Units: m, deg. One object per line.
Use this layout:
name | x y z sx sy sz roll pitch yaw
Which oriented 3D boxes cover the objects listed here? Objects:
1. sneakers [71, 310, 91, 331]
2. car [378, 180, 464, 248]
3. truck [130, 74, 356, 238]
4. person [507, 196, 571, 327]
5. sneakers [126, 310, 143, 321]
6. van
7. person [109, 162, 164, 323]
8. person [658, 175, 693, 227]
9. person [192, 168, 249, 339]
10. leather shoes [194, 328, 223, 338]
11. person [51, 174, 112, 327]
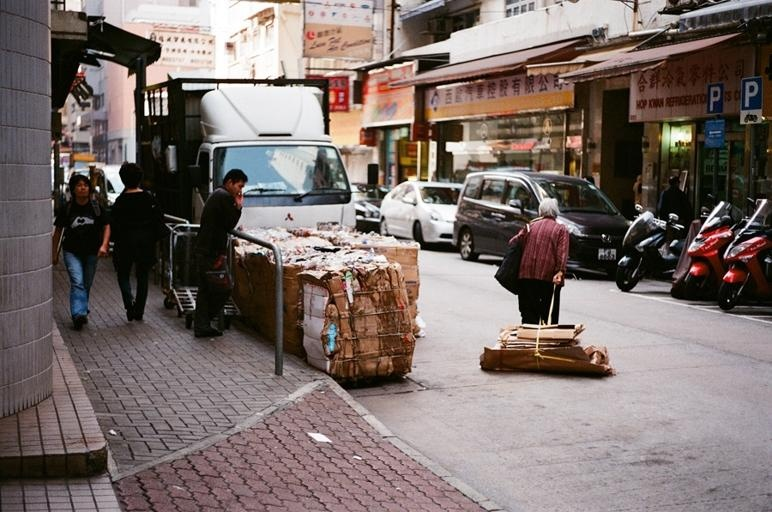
sneakers | -4.120 0.910 10.809 0.133 0.181 0.400 9 -41 -28
car | 1.115 -1.288 23.817 1.495 1.197 2.646 1 1 -24
truck | -2.853 -1.561 16.734 3.078 3.811 6.904 -3 4 -19
person | 2.173 0.118 11.019 0.645 1.741 0.757 -4 12 -41
sneakers | -3.554 0.851 11.306 0.269 0.207 0.094 -6 11 -19
van | 3.672 -0.852 19.102 2.188 1.843 4.063 0 2 -28
person | -3.538 -0.171 11.308 0.699 2.201 0.510 2 9 -9
person | 7.282 -1.375 20.295 0.746 1.289 0.634 13 28 40
person | -2.170 -0.020 10.415 0.594 2.178 0.446 -1 10 -29
leather shoes | -2.331 1.016 10.520 0.346 0.149 0.119 0 3 -27
person | -4.149 -0.052 10.939 0.724 2.063 1.013 0 10 -23
